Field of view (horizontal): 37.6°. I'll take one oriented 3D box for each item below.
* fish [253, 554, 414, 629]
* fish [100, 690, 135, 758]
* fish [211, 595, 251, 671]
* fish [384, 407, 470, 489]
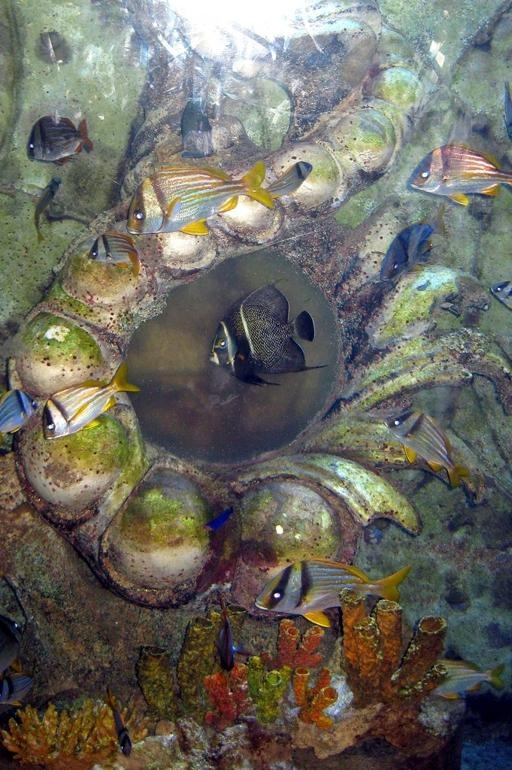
[{"bbox_3d":[0.354,1.029,3.721,0.686,0.313,0.380,7,-17,2],"label":"fish"},{"bbox_3d":[-0.716,1.754,3.865,0.151,0.366,0.088,-18,12,4],"label":"fish"},{"bbox_3d":[-0.152,1.237,3.856,0.228,0.400,0.189,0,-30,-10],"label":"fish"},{"bbox_3d":[0.999,0.404,4.529,0.531,0.316,0.178,43,5,5],"label":"fish"}]
